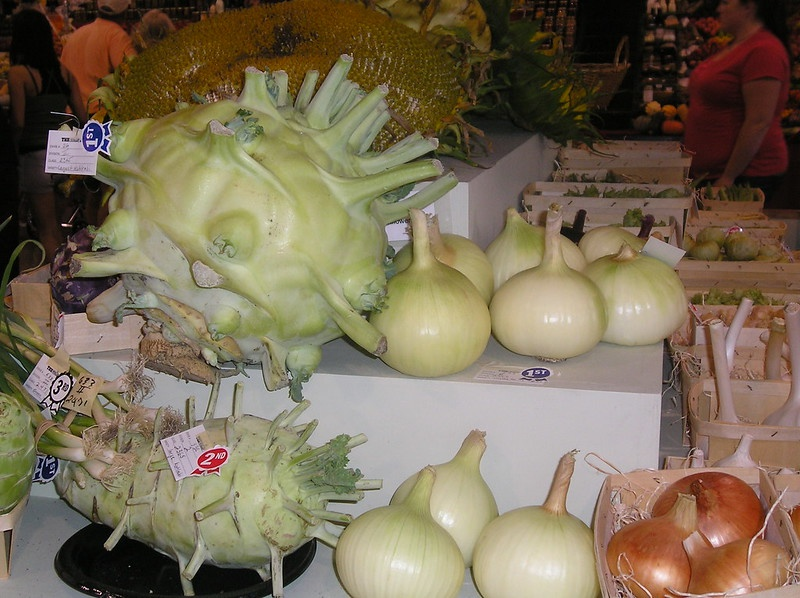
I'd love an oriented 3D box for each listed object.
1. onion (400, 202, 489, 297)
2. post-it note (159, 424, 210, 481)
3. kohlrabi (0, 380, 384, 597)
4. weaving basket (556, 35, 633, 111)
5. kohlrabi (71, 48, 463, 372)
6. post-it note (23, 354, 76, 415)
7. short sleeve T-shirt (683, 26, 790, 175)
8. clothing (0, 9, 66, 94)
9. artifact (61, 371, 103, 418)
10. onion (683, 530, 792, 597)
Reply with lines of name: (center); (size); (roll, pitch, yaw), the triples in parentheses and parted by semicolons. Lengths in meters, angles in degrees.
onion: (0.142, -0.094, 1.317); (0.157, 0.135, 0.132); (-14, 43, 5)
post-it note: (-0.375, 0.264, 1.063); (0.082, 0.023, 0.086); (-22, 77, 7)
kohlrabi: (-0.351, 0.282, 1.063); (0.481, 0.310, 0.359); (8, 13, 9)
weaving basket: (1.062, -1.237, 3.318); (0.364, 0.287, 0.322); (-7, 30, -30)
kohlrabi: (-0.240, -0.160, 1.215); (0.596, 0.599, 0.612); (21, 39, 34)
post-it note: (-0.693, 0.170, 1.212); (0.077, 0.109, 0.008); (29, 8, 6)
short sleeve T-shirt: (2.421, -1.442, 4.471); (0.585, 0.983, 0.954); (-2, 21, 5)
clothing: (-1.908, -1.270, 3.188); (0.242, 0.329, 0.384); (-23, 46, -23)
artifact: (-0.611, 0.183, 1.185); (0.069, 0.017, 0.073); (20, 88, 13)
onion: (0.508, 0.404, 0.927); (0.143, 0.067, 0.091); (11, 43, 12)
